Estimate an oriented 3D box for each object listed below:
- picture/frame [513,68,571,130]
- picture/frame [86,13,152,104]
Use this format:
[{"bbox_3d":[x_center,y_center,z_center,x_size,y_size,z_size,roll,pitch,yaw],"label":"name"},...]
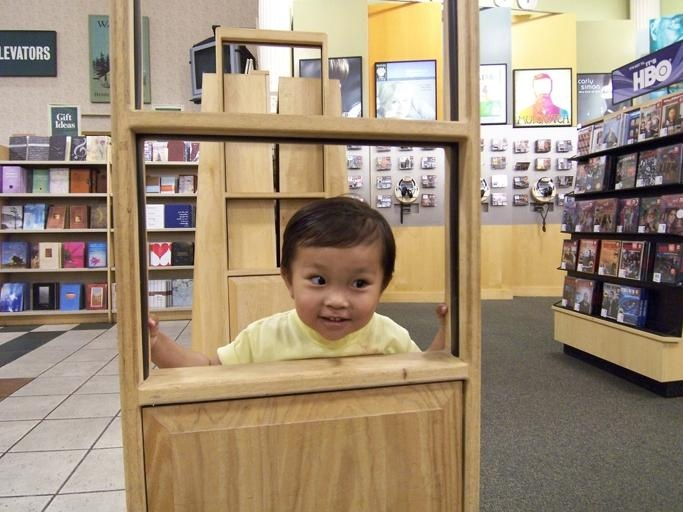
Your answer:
[{"bbox_3d":[2.533,-1.964,6.989,0.720,0.774,0.074,1,-1,0],"label":"picture/frame"},{"bbox_3d":[-2.600,-2.308,6.479,0.714,1.026,0.496,-2,12,-5],"label":"picture/frame"}]
